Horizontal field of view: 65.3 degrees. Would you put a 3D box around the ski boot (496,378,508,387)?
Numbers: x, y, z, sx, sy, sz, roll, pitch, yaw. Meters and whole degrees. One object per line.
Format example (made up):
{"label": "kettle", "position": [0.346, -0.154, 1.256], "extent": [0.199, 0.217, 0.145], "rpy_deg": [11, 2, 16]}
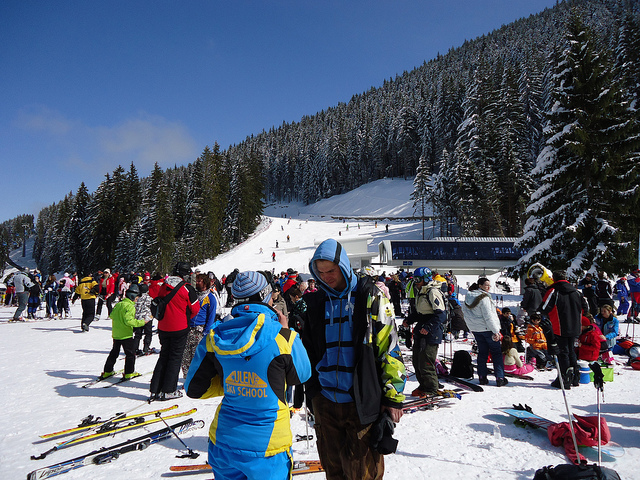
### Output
{"label": "ski boot", "position": [5.646, 4.415, 15.426], "extent": [0.291, 0.338, 0.191], "rpy_deg": [2, -12, -3]}

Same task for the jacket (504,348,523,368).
{"label": "jacket", "position": [6.350, 3.877, 16.345], "extent": [0.452, 0.553, 0.514], "rpy_deg": [1, 3, 42]}

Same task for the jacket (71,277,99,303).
{"label": "jacket", "position": [-9.992, 2.072, 21.415], "extent": [0.773, 0.931, 0.579], "rpy_deg": [2, -8, -16]}

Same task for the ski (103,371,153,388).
{"label": "ski", "position": [-6.154, 4.471, 15.910], "extent": [1.371, 0.218, 0.196], "rpy_deg": [-17, 22, -36]}

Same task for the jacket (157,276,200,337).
{"label": "jacket", "position": [-4.189, 1.877, 14.936], "extent": [1.000, 1.845, 1.022], "rpy_deg": [2, 1, 40]}

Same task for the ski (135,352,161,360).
{"label": "ski", "position": [-6.408, 4.299, 18.530], "extent": [0.820, 0.138, 0.236], "rpy_deg": [-5, 25, -24]}

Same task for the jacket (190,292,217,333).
{"label": "jacket", "position": [-3.419, 2.115, 14.657], "extent": [0.565, 1.136, 1.047], "rpy_deg": [12, -7, -25]}

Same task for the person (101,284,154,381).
{"label": "person", "position": [-6.144, 2.901, 15.739], "extent": [0.982, 3.024, 1.405], "rpy_deg": [4, -9, -27]}

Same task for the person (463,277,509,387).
{"label": "person", "position": [5.128, 2.852, 15.507], "extent": [1.059, 3.373, 1.056], "rpy_deg": [-6, -10, 34]}

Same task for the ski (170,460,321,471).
{"label": "ski", "position": [-1.872, 5.642, 12.468], "extent": [3.772, 0.184, 0.289], "rpy_deg": [0, -9, 0]}

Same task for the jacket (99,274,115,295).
{"label": "jacket", "position": [-9.790, 2.050, 22.936], "extent": [0.767, 0.882, 0.460], "rpy_deg": [1, -18, -3]}

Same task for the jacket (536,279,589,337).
{"label": "jacket", "position": [7.554, 2.191, 15.600], "extent": [1.625, 1.793, 0.700], "rpy_deg": [-2, -5, 23]}

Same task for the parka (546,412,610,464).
{"label": "parka", "position": [6.674, 5.177, 12.901], "extent": [1.239, 0.573, 1.005], "rpy_deg": [-6, 37, 3]}

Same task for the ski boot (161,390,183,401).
{"label": "ski boot", "position": [-4.432, 4.646, 14.986], "extent": [0.618, 0.303, 0.211], "rpy_deg": [-1, 3, -35]}

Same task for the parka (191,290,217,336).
{"label": "parka", "position": [-3.401, 2.126, 14.595], "extent": [0.848, 1.210, 0.409], "rpy_deg": [28, 7, 35]}

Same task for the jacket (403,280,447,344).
{"label": "jacket", "position": [3.337, 2.105, 15.055], "extent": [1.068, 1.993, 1.072], "rpy_deg": [-1, 3, -36]}

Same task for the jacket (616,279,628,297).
{"label": "jacket", "position": [13.793, 2.235, 22.752], "extent": [0.421, 0.717, 0.610], "rpy_deg": [-6, -10, 35]}

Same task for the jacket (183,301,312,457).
{"label": "jacket", "position": [-1.599, 3.009, 11.239], "extent": [2.675, 3.555, 1.959], "rpy_deg": [2, 6, -11]}

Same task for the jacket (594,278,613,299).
{"label": "jacket", "position": [12.114, 2.082, 21.310], "extent": [0.832, 1.078, 0.560], "rpy_deg": [0, -3, 44]}

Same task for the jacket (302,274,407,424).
{"label": "jacket", "position": [0.853, 2.391, 11.019], "extent": [2.039, 3.236, 0.343], "rpy_deg": [-2, -8, 11]}

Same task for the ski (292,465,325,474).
{"label": "ski", "position": [-0.290, 5.685, 12.317], "extent": [0.756, 0.215, 0.132], "rpy_deg": [0, -8, 1]}

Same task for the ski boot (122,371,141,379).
{"label": "ski boot", "position": [-6.046, 4.353, 16.090], "extent": [0.468, 0.223, 0.160], "rpy_deg": [-15, 10, -26]}

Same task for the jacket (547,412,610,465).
{"label": "jacket", "position": [6.646, 4.981, 12.813], "extent": [1.129, 0.628, 1.129], "rpy_deg": [-19, 31, -9]}

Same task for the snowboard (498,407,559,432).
{"label": "snowboard", "position": [5.702, 4.815, 13.496], "extent": [0.492, 0.251, 1.546], "rpy_deg": [7, 2, -23]}

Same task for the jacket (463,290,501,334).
{"label": "jacket", "position": [4.964, 2.209, 15.246], "extent": [0.764, 1.499, 0.744], "rpy_deg": [0, 2, -6]}

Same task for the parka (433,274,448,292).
{"label": "parka", "position": [4.261, 1.518, 17.641], "extent": [0.312, 0.820, 0.582], "rpy_deg": [-22, -21, 38]}

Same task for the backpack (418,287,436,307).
{"label": "backpack", "position": [3.182, 1.705, 14.874], "extent": [0.164, 0.575, 0.595], "rpy_deg": [7, -11, -42]}

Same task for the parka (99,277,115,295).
{"label": "parka", "position": [-9.765, 2.108, 22.930], "extent": [0.736, 0.784, 0.272], "rpy_deg": [-4, -9, 25]}

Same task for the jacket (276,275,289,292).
{"label": "jacket", "position": [-2.017, 2.429, 27.072], "extent": [0.730, 1.226, 0.408], "rpy_deg": [0, -12, 1]}

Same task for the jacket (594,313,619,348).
{"label": "jacket", "position": [9.949, 3.170, 17.231], "extent": [0.644, 1.152, 0.844], "rpy_deg": [-11, 6, -20]}

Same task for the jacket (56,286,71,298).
{"label": "jacket", "position": [-13.149, 2.655, 25.583], "extent": [0.463, 0.574, 0.649], "rpy_deg": [4, -9, -25]}

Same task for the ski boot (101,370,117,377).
{"label": "ski boot", "position": [-6.777, 4.305, 16.032], "extent": [0.436, 0.160, 0.202], "rpy_deg": [-20, -33, -24]}

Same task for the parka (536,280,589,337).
{"label": "parka", "position": [7.526, 2.109, 15.424], "extent": [1.255, 1.744, 0.406], "rpy_deg": [0, -8, -4]}

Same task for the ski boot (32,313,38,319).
{"label": "ski boot", "position": [-14.728, 3.924, 25.799], "extent": [0.238, 0.290, 0.633], "rpy_deg": [5, -10, -30]}

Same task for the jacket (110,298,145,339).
{"label": "jacket", "position": [-6.106, 2.454, 15.668], "extent": [1.128, 1.237, 0.780], "rpy_deg": [2, -1, 30]}
